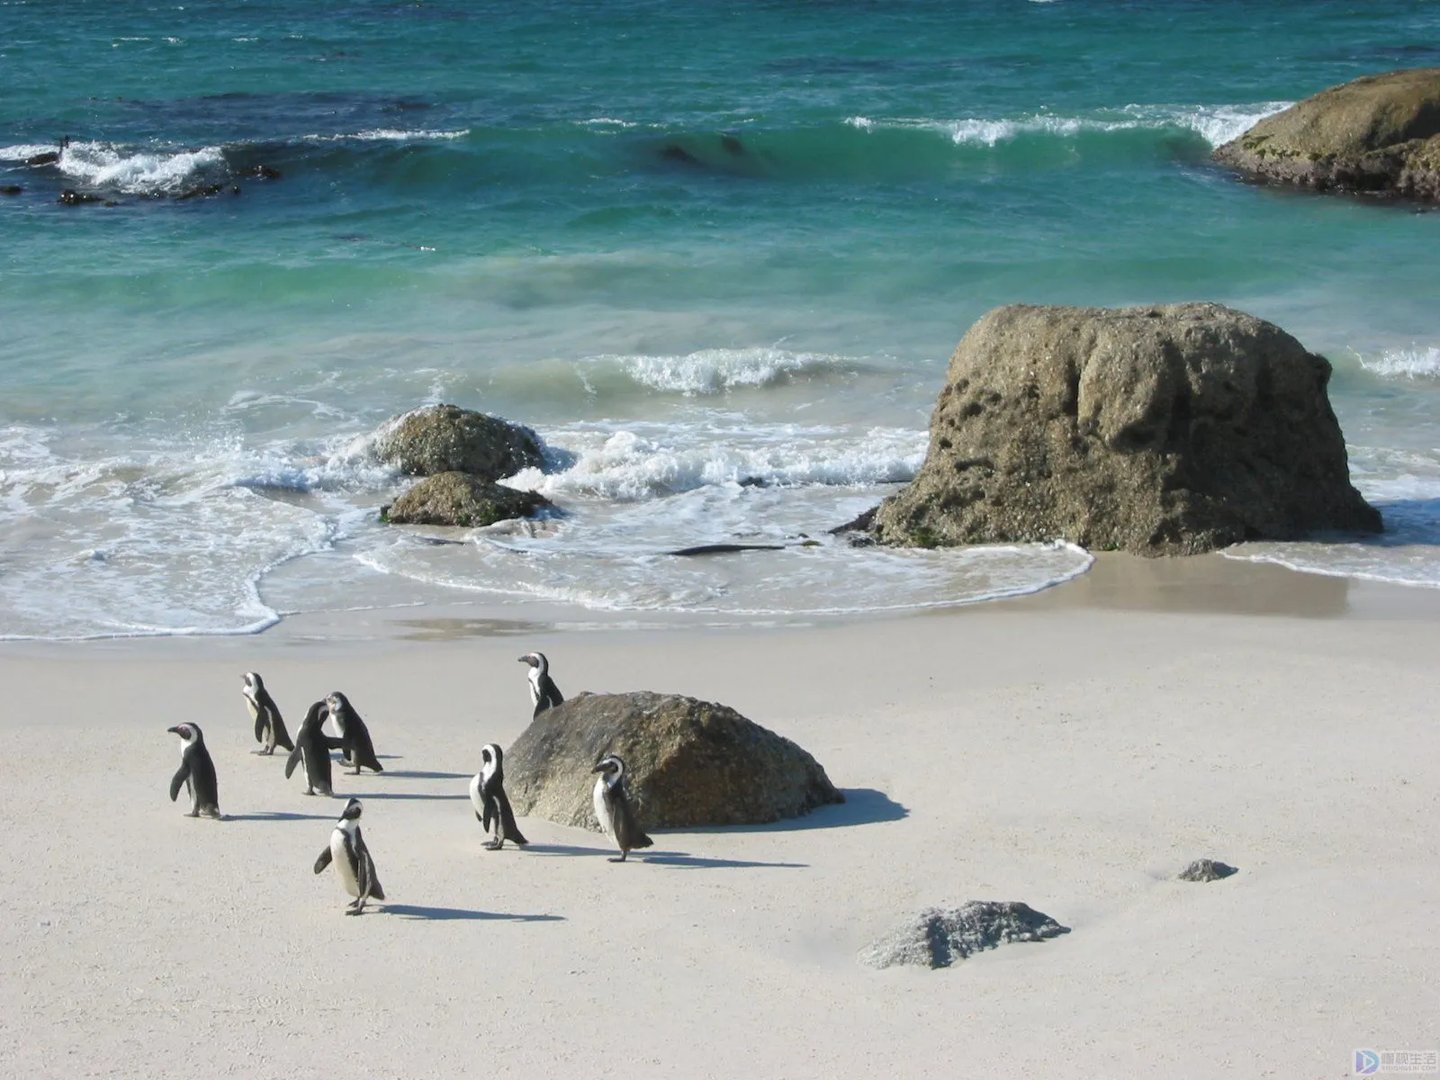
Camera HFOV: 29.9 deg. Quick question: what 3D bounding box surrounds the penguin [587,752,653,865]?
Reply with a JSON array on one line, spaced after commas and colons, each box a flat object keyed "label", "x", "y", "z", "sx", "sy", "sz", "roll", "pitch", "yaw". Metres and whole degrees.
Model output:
[{"label": "penguin", "x": -1.093, "y": 3.047, "z": 31.098, "sx": 0.641, "sy": 1.091, "sz": 0.772, "roll": -3, "pitch": 16, "yaw": -7}]

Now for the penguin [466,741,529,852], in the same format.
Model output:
[{"label": "penguin", "x": -2.539, "y": 2.928, "z": 31.207, "sx": 0.599, "sy": 1.110, "sz": 0.686, "roll": -3, "pitch": 16, "yaw": -7}]

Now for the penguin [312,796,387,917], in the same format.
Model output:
[{"label": "penguin", "x": -4.157, "y": 3.520, "z": 30.408, "sx": 0.769, "sy": 1.185, "sz": 0.795, "roll": -4, "pitch": 16, "yaw": -10}]
